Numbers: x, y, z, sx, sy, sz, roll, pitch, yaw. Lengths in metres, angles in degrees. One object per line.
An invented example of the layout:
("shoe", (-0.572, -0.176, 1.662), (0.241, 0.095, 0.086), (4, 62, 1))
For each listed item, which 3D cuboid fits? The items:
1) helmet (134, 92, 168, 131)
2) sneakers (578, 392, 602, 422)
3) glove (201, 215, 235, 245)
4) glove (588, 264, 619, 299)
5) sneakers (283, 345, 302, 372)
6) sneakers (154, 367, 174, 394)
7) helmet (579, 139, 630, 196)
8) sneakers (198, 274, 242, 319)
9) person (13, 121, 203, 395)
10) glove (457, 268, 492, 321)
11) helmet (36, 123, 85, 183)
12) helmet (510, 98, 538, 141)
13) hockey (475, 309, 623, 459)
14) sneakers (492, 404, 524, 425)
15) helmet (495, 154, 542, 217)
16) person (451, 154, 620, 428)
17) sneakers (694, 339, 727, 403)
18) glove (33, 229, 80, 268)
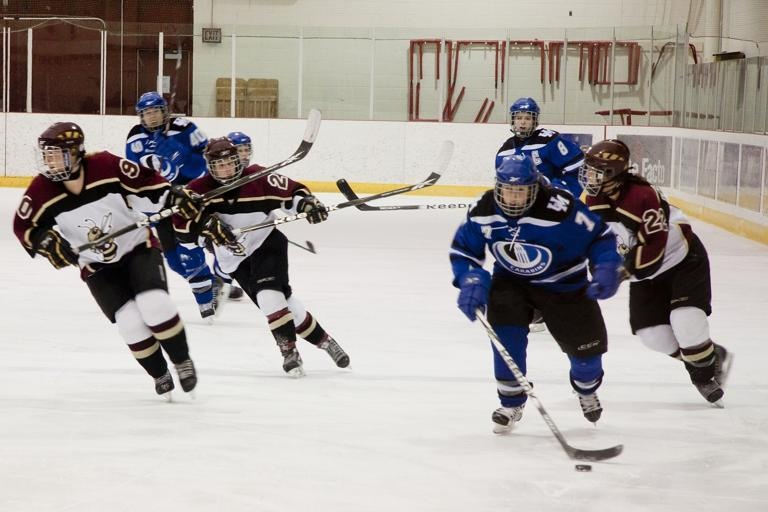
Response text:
("helmet", (-1.843, -1.179, 6.845), (0.258, 0.278, 0.304), (-19, 25, -1))
("sneakers", (1.111, 0.804, 4.603), (0.079, 0.208, 0.090), (-17, 10, 19))
("glove", (-1.002, -0.161, 5.098), (0.198, 0.171, 0.081), (2, 11, 12))
("glove", (1.151, 0.121, 4.434), (0.160, 0.192, 0.142), (2, 11, 13))
("sneakers", (-0.562, 0.623, 5.178), (0.060, 0.159, 0.153), (-23, 48, -10))
("sneakers", (-1.248, 0.726, 4.844), (0.073, 0.066, 0.164), (-27, 2, -12))
("helmet", (1.219, -0.515, 4.862), (0.351, 0.293, 0.259), (-12, 20, -10))
("sneakers", (-1.283, 0.290, 6.467), (0.186, 0.134, 0.415), (29, 10, -6))
("person", (-1.577, 0.024, 4.831), (0.979, 1.539, 0.445), (-1, 11, -6))
("glove", (0.472, 0.186, 4.427), (0.182, 0.117, 0.268), (6, 52, 10))
("helmet", (-1.791, -0.579, 4.725), (0.246, 0.320, 0.243), (-4, 11, -20))
("helmet", (1.065, -1.033, 6.377), (0.261, 0.270, 0.310), (-1, 9, 11))
("hockey", (0.840, 0.703, 4.563), (0.414, 1.118, 0.082), (-47, -9, 25))
("sneakers", (0.671, 0.848, 4.567), (0.075, 0.086, 0.219), (-3, -1, 32))
("helmet", (0.682, -0.354, 4.317), (0.270, 0.278, 0.312), (2, 23, 17))
("person", (0.788, 0.179, 4.490), (0.877, 1.413, 0.274), (0, 12, 2))
("sneakers", (1.901, 0.640, 4.941), (0.201, 0.407, 0.151), (15, -29, -12))
("glove", (-1.829, -0.039, 4.769), (0.220, 0.238, 0.166), (-1, 11, -6))
